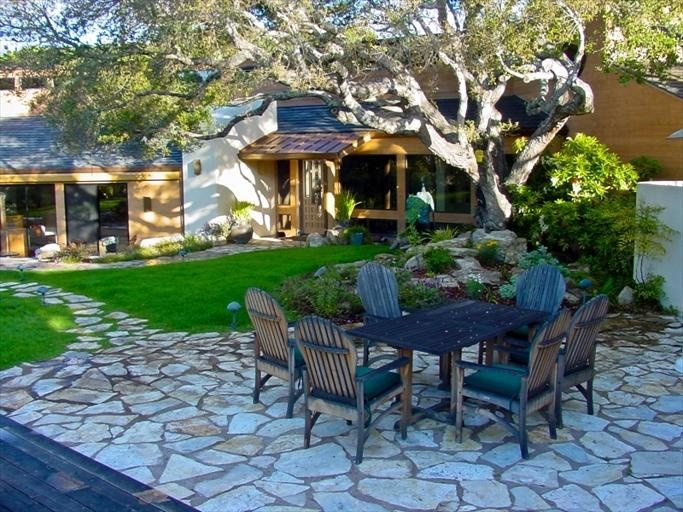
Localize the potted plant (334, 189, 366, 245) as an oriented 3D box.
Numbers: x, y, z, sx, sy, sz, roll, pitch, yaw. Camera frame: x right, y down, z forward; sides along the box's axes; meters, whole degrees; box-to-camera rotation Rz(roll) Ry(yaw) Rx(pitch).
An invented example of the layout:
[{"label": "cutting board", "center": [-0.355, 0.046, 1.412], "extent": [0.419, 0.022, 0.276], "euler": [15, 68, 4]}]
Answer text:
[{"label": "potted plant", "center": [0.270, -1.541, 18.973], "extent": [1.040, 1.856, 2.075], "euler": [-1, 12, 2]}]

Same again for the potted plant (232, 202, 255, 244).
[{"label": "potted plant", "center": [-4.004, -1.373, 19.764], "extent": [0.975, 1.633, 1.229], "euler": [-3, 13, -7]}]

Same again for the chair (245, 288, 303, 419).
[{"label": "chair", "center": [-0.786, 1.136, 6.010], "extent": [0.543, 1.518, 0.959], "euler": [-12, 16, -36]}]

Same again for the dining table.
[{"label": "dining table", "center": [1.170, 0.849, 5.928], "extent": [1.395, 1.094, 2.719], "euler": [5, 8, 43]}]

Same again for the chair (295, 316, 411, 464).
[{"label": "chair", "center": [0.144, 1.315, 5.012], "extent": [1.142, 1.399, 0.755], "euler": [-3, 13, -6]}]

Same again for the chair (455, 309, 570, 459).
[{"label": "chair", "center": [1.803, 1.265, 5.209], "extent": [1.006, 1.405, 1.003], "euler": [5, 14, 26]}]
